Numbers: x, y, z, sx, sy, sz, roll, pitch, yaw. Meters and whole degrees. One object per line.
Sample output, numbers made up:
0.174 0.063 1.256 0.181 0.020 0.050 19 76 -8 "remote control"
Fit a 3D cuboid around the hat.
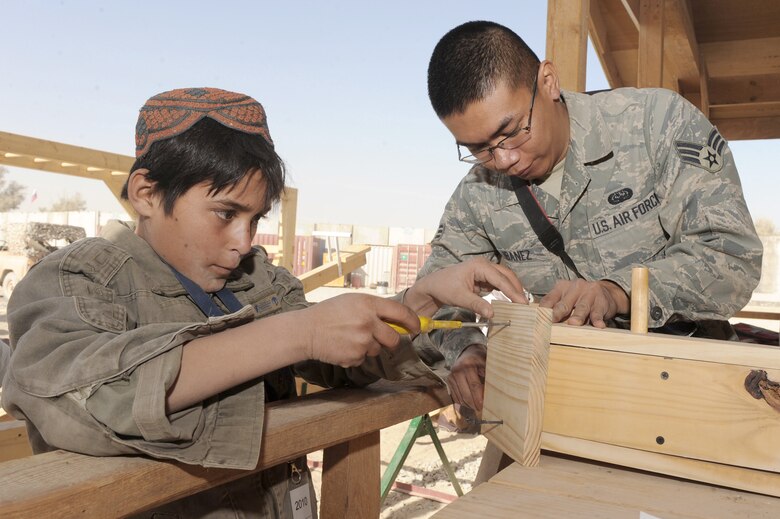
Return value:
-0.718 -0.523 2.180 0.382 0.200 0.383 -3 4 -3 "hat"
